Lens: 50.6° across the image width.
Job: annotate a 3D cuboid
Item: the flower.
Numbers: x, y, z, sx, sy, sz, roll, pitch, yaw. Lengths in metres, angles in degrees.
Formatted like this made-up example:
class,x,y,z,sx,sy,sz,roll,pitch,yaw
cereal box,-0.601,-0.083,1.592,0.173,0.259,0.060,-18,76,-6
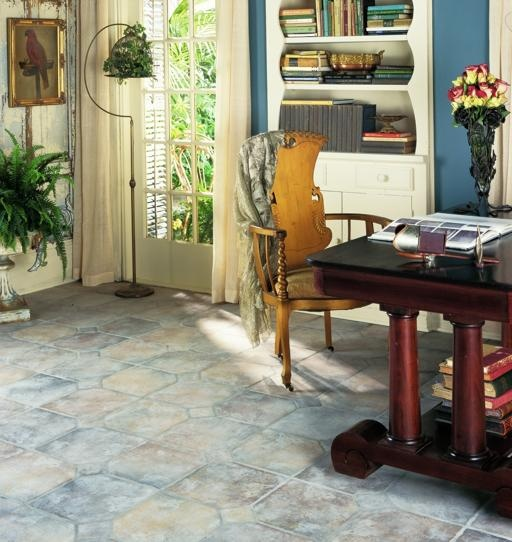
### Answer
class,x,y,z,sx,sy,sz,roll,pitch,yaw
flower,0.970,-0.827,2.563,0.353,0.294,0.321,-1,23,11

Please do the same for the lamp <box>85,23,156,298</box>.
class,x,y,z,sx,sy,sz,roll,pitch,yaw
lamp,-1.107,-0.906,4.307,0.431,2.181,0.663,-4,11,-17
